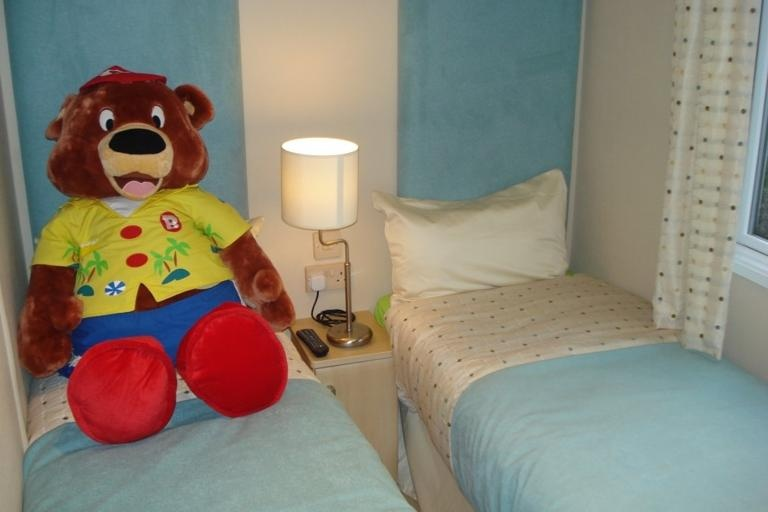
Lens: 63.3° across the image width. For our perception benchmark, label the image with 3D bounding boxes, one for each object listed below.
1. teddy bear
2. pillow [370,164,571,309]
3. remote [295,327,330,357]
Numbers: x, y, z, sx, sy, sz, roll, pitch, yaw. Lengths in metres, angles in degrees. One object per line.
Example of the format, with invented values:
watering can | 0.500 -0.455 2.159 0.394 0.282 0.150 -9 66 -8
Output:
teddy bear | -0.825 -0.050 2.249 0.859 1.167 0.835 -6 19 -17
pillow | 0.438 -0.098 2.943 0.872 0.518 0.247 -8 12 -3
remote | -0.313 0.378 2.721 0.088 0.051 0.211 -21 29 -17
